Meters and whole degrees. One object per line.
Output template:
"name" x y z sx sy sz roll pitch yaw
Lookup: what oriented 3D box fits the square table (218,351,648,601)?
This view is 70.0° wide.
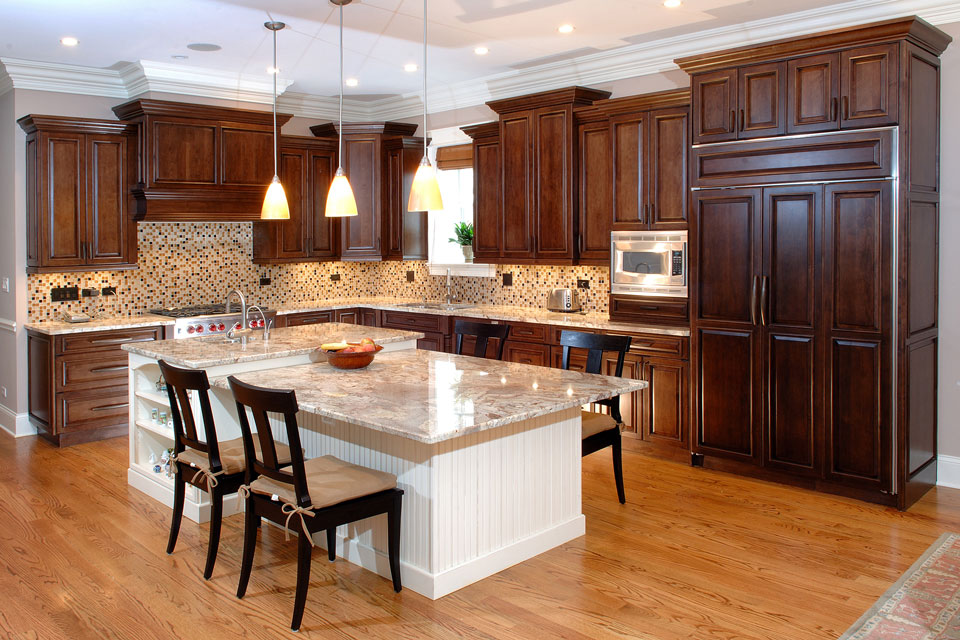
"square table" -0.093 0.684 5.057 1.538 0.841 1.995 -3 19 -21

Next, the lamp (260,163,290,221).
"lamp" -1.702 -1.042 5.681 0.193 0.383 1.067 -5 13 -16

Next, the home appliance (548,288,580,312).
"home appliance" 0.873 -0.184 7.319 0.403 0.275 0.242 2 0 42

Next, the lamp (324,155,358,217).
"lamp" -0.995 -0.988 4.926 0.260 0.422 0.213 -5 20 -11

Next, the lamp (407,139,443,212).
"lamp" -0.371 -0.969 4.654 0.243 0.439 0.219 3 8 14
